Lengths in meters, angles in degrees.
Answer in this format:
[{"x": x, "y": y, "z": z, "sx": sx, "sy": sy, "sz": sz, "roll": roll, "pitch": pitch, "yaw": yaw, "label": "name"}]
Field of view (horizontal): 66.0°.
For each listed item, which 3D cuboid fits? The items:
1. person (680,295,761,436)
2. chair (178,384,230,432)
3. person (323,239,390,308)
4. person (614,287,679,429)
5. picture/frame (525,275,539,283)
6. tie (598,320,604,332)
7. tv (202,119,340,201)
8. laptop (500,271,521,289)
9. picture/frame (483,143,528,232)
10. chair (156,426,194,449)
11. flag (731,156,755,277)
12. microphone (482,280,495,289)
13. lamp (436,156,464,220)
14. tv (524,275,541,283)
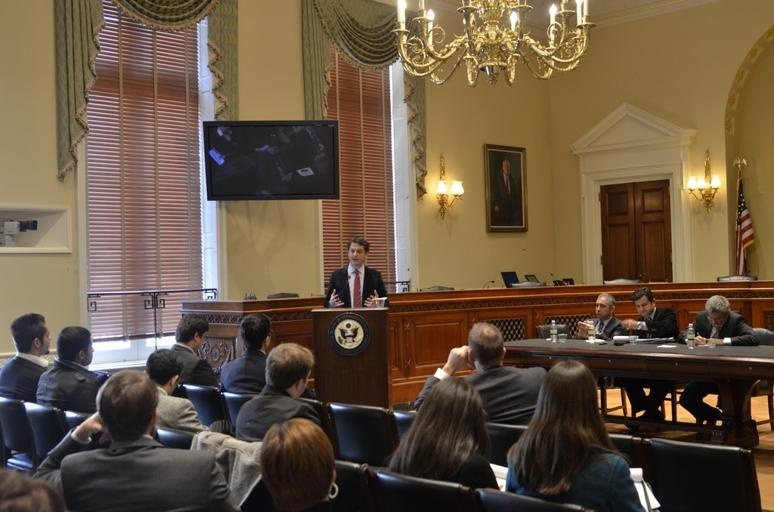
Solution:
[{"x": 3.388, "y": 1.108, "z": 6.108, "sx": 0.729, "sy": 1.349, "sz": 0.886, "roll": 3, "pitch": -5, "yaw": -4, "label": "person"}, {"x": -1.324, "y": 1.106, "z": 4.405, "sx": 0.345, "sy": 0.448, "sz": 0.306, "roll": -1, "pitch": 2, "yaw": -45, "label": "chair"}, {"x": -0.338, "y": 0.165, "z": 6.241, "sx": 0.629, "sy": 0.724, "sz": 0.737, "roll": 0, "pitch": -3, "yaw": -6, "label": "person"}, {"x": 2.945, "y": 1.097, "z": 6.604, "sx": 0.974, "sy": 1.405, "sz": 1.019, "roll": -3, "pitch": -10, "yaw": 30, "label": "person"}, {"x": 2.565, "y": 0.395, "z": 10.497, "sx": 0.193, "sy": 0.189, "sz": 0.263, "roll": -14, "pitch": -7, "yaw": 15, "label": "picture/frame"}, {"x": 2.438, "y": 0.792, "z": 6.763, "sx": 0.034, "sy": 0.117, "sz": 0.082, "roll": 8, "pitch": -11, "yaw": -27, "label": "tie"}, {"x": -1.548, "y": -1.300, "z": 8.036, "sx": 1.812, "sy": 1.116, "sz": 0.236, "roll": 1, "pitch": -3, "yaw": -13, "label": "tv"}, {"x": 1.960, "y": 0.367, "z": 9.506, "sx": 0.087, "sy": 0.266, "sz": 0.386, "roll": -9, "pitch": -1, "yaw": 25, "label": "laptop"}, {"x": 2.324, "y": -1.309, "z": 11.614, "sx": 1.173, "sy": 1.710, "sz": 0.188, "roll": 3, "pitch": -4, "yaw": -42, "label": "picture/frame"}, {"x": -1.174, "y": 1.006, "z": 3.271, "sx": 0.131, "sy": 0.184, "sz": 0.142, "roll": 3, "pitch": 2, "yaw": 38, "label": "chair"}, {"x": 6.547, "y": -0.760, "z": 10.887, "sx": 0.304, "sy": 2.203, "sz": 0.553, "roll": -2, "pitch": -4, "yaw": 33, "label": "flag"}, {"x": 1.940, "y": 0.520, "z": 11.299, "sx": 0.293, "sy": 0.119, "sz": 0.073, "roll": 4, "pitch": -5, "yaw": -44, "label": "microphone"}, {"x": 1.145, "y": -1.231, "z": 10.673, "sx": 0.589, "sy": 1.113, "sz": 0.211, "roll": 3, "pitch": -4, "yaw": -38, "label": "lamp"}, {"x": 2.571, "y": 0.396, "z": 10.497, "sx": 0.203, "sy": 0.204, "sz": 0.277, "roll": -15, "pitch": -8, "yaw": 19, "label": "tv"}]
